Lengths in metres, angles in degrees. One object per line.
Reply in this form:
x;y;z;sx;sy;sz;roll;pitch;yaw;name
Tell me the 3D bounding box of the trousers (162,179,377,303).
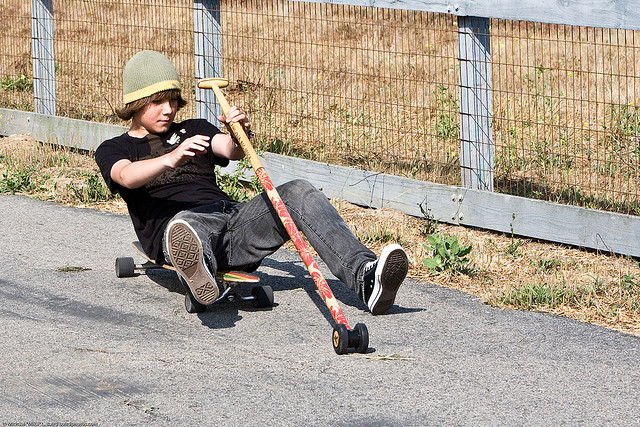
-0.378;0.129;8.695;1.005;0.609;1.521;-3;8;-36;trousers
